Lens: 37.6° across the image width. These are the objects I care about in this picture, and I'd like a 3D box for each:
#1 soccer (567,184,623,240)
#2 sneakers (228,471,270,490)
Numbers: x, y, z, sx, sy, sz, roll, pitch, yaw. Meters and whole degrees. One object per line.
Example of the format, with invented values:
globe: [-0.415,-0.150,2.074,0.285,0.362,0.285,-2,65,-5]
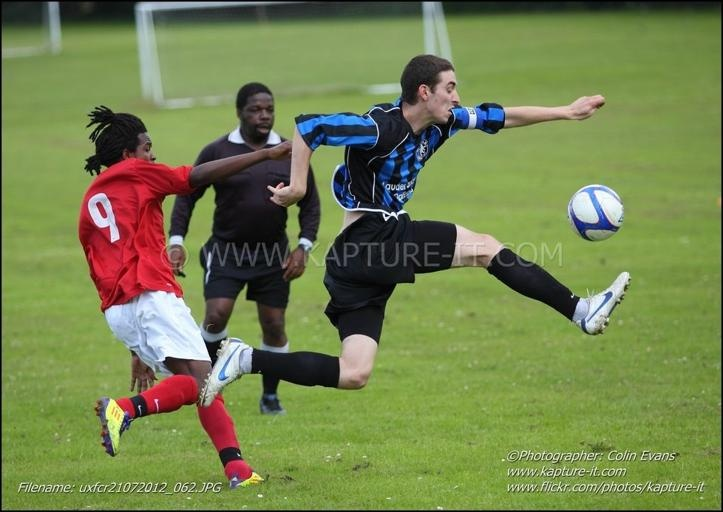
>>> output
soccer: [3.179,-0.504,14.099,0.622,0.625,0.593,-7,17,14]
sneakers: [-1.427,2.806,13.428,0.483,0.176,0.169,-4,10,-16]
